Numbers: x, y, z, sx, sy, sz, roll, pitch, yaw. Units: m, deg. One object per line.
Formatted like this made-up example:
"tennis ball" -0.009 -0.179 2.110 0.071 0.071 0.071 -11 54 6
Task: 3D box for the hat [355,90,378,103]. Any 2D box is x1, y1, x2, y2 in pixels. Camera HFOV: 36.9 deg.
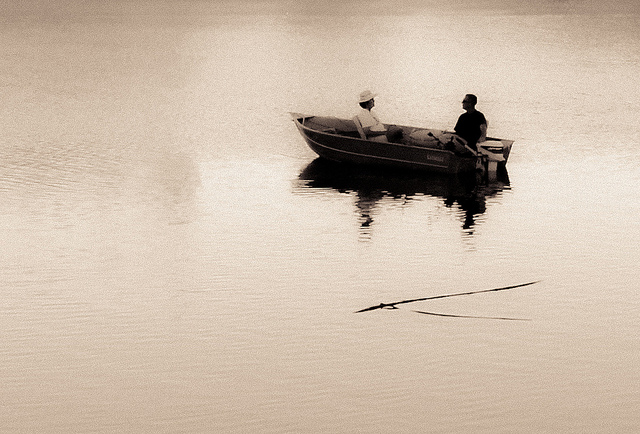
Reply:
"hat" 1.216 -3.038 24.424 0.332 0.301 0.441 6 7 2

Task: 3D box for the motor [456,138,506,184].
"motor" 3.973 -1.494 24.138 1.681 0.751 0.440 6 -6 -39

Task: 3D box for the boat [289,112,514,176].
"boat" 1.693 -1.595 24.893 6.329 0.931 2.046 9 23 29

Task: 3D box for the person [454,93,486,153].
"person" 3.839 -2.279 23.755 0.752 1.418 0.639 7 8 -3
